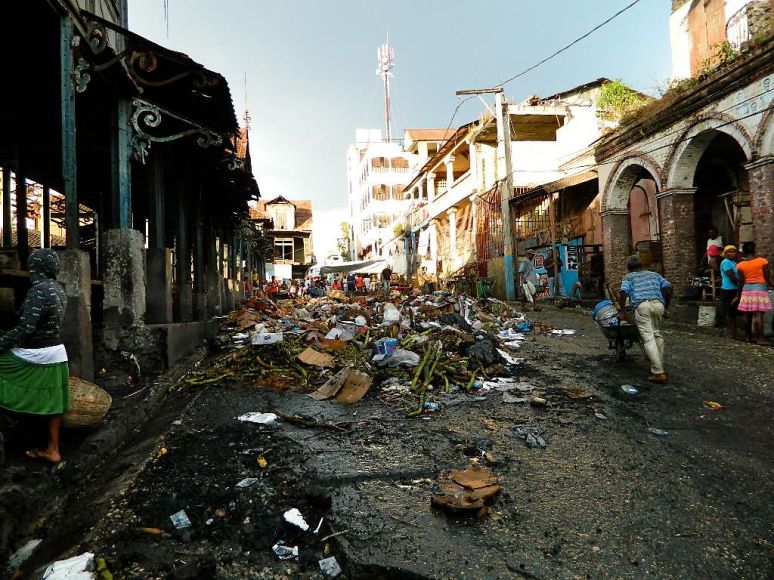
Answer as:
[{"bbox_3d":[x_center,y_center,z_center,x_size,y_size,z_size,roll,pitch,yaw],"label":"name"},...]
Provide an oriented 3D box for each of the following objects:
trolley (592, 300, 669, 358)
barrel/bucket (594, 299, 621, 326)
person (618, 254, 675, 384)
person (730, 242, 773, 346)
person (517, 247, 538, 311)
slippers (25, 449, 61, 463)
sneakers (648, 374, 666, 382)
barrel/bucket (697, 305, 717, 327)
[{"bbox_3d":[3.923,0.680,9.420,0.640,0.760,0.912,-8,-2,25],"label":"trolley"},{"bbox_3d":[3.544,0.359,9.193,0.347,0.321,0.370,7,-41,6],"label":"barrel/bucket"},{"bbox_3d":[4.046,0.383,8.817,0.720,1.267,1.156,-2,1,27],"label":"person"},{"bbox_3d":[6.546,0.030,10.074,0.507,1.767,0.620,-1,1,32],"label":"person"},{"bbox_3d":[4.641,-0.415,18.481,0.503,1.358,2.570,-2,1,14],"label":"person"},{"bbox_3d":[-3.590,1.690,5.888,0.348,0.147,0.127,7,3,-6],"label":"slippers"},{"bbox_3d":[3.979,1.258,8.269,0.092,0.108,0.249,-17,16,-38],"label":"sneakers"},{"bbox_3d":[6.783,0.528,11.996,0.376,0.431,0.384,1,-3,0],"label":"barrel/bucket"}]
